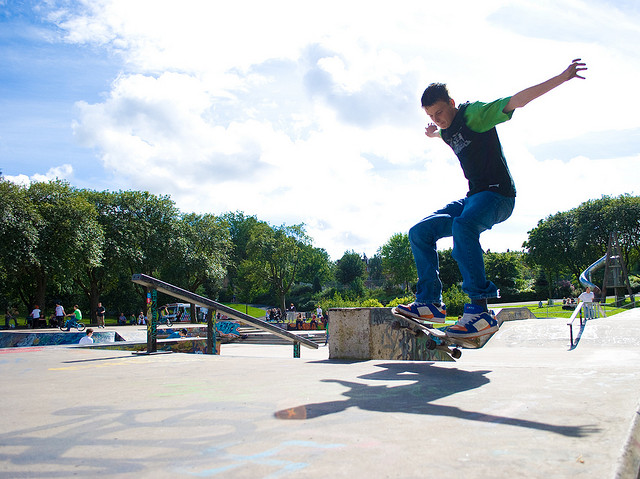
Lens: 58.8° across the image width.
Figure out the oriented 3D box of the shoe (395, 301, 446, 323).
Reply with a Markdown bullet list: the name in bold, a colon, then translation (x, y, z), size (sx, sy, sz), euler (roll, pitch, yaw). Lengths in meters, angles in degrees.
- **shoe**: translation (1.009, 0.717, 5.635), size (0.434, 0.187, 0.151), euler (17, -23, -15)

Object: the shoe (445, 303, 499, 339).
- **shoe**: translation (1.449, 0.768, 5.394), size (0.596, 0.313, 0.207), euler (-5, -4, -27)

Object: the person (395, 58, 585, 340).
- **person**: translation (1.406, -0.312, 5.467), size (1.218, 2.531, 1.188), euler (1, -4, 8)

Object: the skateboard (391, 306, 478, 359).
- **skateboard**: translation (1.096, 0.923, 5.435), size (0.352, 0.223, 1.160), euler (3, 11, -45)

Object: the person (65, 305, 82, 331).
- **person**: translation (-11.224, 3.530, 25.812), size (0.574, 1.120, 2.107), euler (3, -5, -24)

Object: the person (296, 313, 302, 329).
- **person**: translation (-1.381, 5.330, 36.796), size (0.342, 0.809, 0.805), euler (2, -4, -10)
